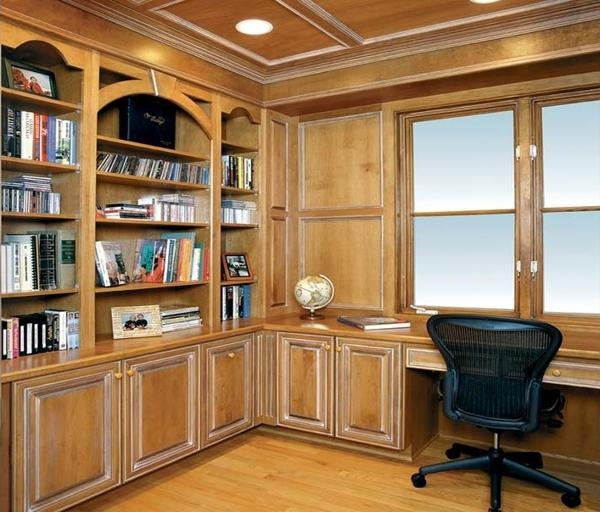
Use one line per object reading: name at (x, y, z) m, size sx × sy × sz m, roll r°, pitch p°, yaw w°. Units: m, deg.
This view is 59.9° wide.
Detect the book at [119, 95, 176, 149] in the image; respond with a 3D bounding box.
book at (-1.041, -0.927, 3.562) m, size 0.089 × 0.337 × 0.418 m, roll 3°, pitch 5°, yaw 33°

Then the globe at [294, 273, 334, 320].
globe at (0.124, 0.331, 4.159) m, size 0.466 × 0.380 × 0.276 m, roll 3°, pitch 4°, yaw 19°
